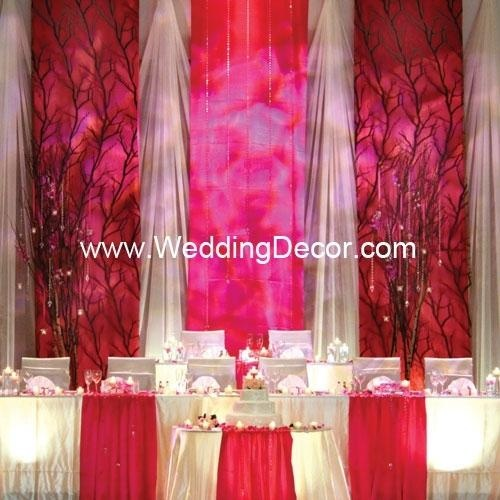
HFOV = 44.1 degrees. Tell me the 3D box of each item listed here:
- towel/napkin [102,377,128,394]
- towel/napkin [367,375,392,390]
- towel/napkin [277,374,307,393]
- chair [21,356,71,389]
[{"bbox_3d":[-1.114,1.140,5.086,0.110,0.116,0.140,3,-1,-13],"label":"towel/napkin"},{"bbox_3d":[1.110,1.179,5.321,0.233,0.151,0.467,-6,-17,11],"label":"towel/napkin"},{"bbox_3d":[0.377,1.242,5.571,0.260,0.217,0.556,-4,-16,4],"label":"towel/napkin"},{"bbox_3d":[-1.932,1.136,5.970,0.301,0.477,0.295,0,4,-3],"label":"chair"}]
